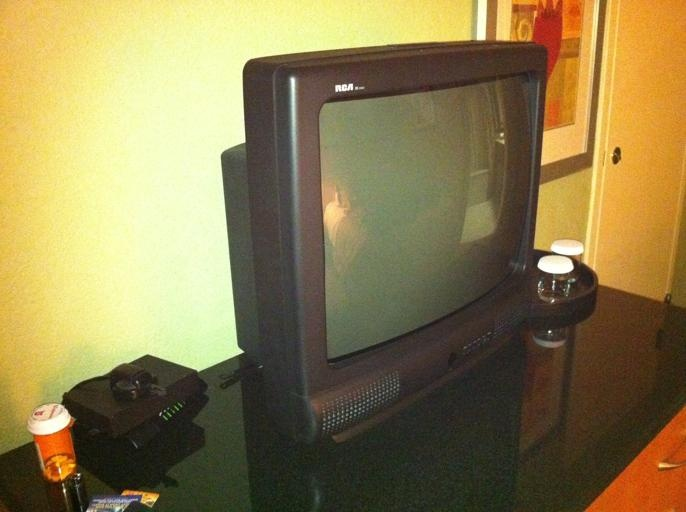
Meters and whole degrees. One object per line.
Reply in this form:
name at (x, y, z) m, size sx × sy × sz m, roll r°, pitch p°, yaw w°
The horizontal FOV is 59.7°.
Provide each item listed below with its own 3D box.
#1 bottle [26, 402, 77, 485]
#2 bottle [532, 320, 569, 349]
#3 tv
bottle at (-0.533, 0.352, 1.118) m, size 0.062 × 0.149 × 0.065 m, roll -4°, pitch 20°, yaw 1°
bottle at (0.535, 0.199, 1.530) m, size 0.059 × 0.044 × 0.062 m, roll -5°, pitch 13°, yaw 1°
tv at (0.147, -0.064, 1.298) m, size 0.744 × 0.744 × 0.204 m, roll -18°, pitch 24°, yaw -32°
